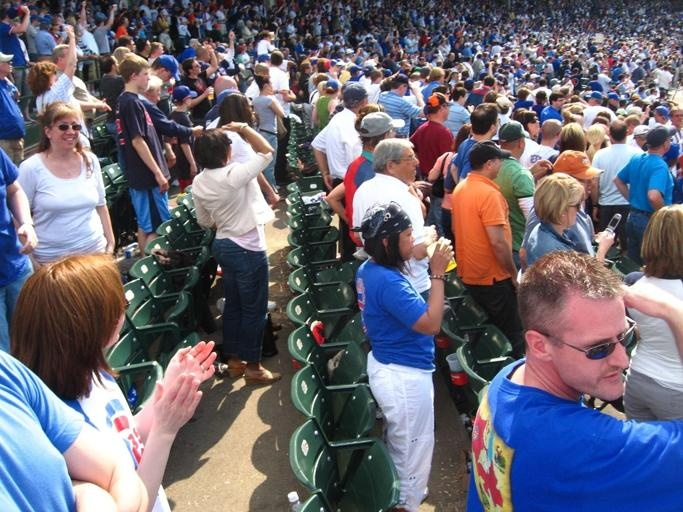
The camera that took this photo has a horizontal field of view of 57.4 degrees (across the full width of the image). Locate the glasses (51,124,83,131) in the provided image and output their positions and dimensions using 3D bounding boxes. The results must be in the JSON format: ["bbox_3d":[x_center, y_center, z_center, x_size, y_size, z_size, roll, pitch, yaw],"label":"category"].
[{"bbox_3d":[-1.951,-0.921,4.466,0.063,0.062,0.168,20,24,40],"label":"glasses"}]

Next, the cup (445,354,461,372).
[{"bbox_3d":[0.760,0.732,4.370,0.108,0.123,0.113,-17,18,6],"label":"cup"}]

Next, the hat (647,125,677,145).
[{"bbox_3d":[3.424,-1.309,6.678,0.175,0.183,0.295,0,45,49],"label":"hat"}]

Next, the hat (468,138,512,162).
[{"bbox_3d":[1.219,-0.869,5.137,0.281,0.154,0.186,-28,26,-3],"label":"hat"}]

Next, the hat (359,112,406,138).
[{"bbox_3d":[0.335,-1.070,5.157,0.328,0.132,0.216,-21,33,-24],"label":"hat"}]

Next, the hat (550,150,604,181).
[{"bbox_3d":[2.132,-0.820,5.649,0.415,0.230,0.279,11,19,25],"label":"hat"}]

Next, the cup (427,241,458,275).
[{"bbox_3d":[0.773,0.031,4.713,0.235,0.341,0.288,6,-3,5],"label":"cup"}]

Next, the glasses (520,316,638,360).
[{"bbox_3d":[0.860,0.296,2.280,0.176,0.057,0.177,-20,23,-30],"label":"glasses"}]

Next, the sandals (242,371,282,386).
[{"bbox_3d":[-0.659,0.978,5.109,0.252,0.114,0.120,-2,12,-10],"label":"sandals"}]
